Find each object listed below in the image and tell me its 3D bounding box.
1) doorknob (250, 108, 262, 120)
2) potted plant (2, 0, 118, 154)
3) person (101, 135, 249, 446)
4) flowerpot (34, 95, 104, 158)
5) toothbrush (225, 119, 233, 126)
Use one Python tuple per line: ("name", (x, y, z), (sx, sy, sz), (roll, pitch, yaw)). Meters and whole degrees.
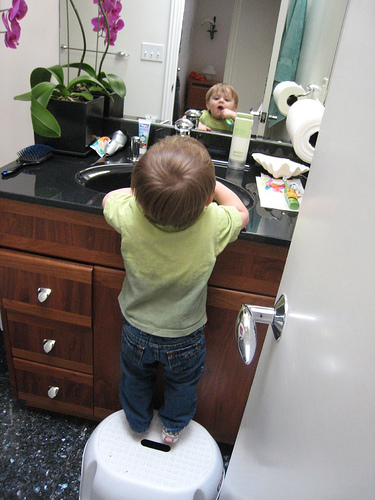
("doorknob", (0.236, -0.469, 1.329), (0.034, 0.020, 0.021), (24, 53, 14))
("potted plant", (-0.423, -0.612, 1.311), (0.293, 0.459, 0.335), (13, 41, 4))
("person", (-0.050, 0.126, 0.937), (0.317, 0.784, 0.276), (0, 27, -19))
("flowerpot", (-0.395, -0.398, 1.309), (0.230, 0.194, 0.175), (8, -2, 15))
("toothbrush", (0.146, -0.456, 1.373), (0.014, 0.021, 0.005), (9, 40, 33))
